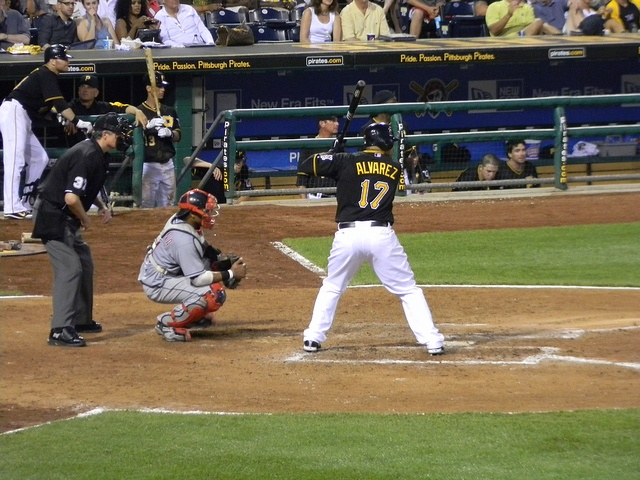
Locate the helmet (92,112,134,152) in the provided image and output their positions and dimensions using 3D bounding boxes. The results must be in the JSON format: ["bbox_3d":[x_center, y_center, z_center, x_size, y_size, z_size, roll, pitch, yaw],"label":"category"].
[{"bbox_3d":[-2.231,-1.147,13.078,0.550,0.407,0.394,-11,21,-11],"label":"helmet"}]

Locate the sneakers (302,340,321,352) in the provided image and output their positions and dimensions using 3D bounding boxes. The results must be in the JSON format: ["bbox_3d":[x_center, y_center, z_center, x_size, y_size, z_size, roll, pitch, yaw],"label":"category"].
[{"bbox_3d":[-0.091,1.099,12.651,0.099,0.079,0.194,2,4,6],"label":"sneakers"}]

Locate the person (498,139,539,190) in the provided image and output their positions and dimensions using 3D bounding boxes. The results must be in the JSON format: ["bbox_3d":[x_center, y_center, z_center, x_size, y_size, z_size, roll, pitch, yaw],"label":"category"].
[{"bbox_3d":[3.254,-1.221,20.250,0.973,0.808,0.456,-4,7,-17],"label":"person"}]

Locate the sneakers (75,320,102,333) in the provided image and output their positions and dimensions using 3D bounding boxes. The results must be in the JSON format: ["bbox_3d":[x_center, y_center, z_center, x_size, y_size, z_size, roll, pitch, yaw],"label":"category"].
[{"bbox_3d":[-2.530,0.936,13.303,0.299,0.122,0.111,-2,11,-10],"label":"sneakers"}]

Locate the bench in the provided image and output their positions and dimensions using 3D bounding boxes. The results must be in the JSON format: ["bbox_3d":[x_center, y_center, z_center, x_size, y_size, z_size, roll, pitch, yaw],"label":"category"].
[{"bbox_3d":[1.120,-1.353,19.722,5.637,0.817,0.951,-2,8,-20],"label":"bench"}]

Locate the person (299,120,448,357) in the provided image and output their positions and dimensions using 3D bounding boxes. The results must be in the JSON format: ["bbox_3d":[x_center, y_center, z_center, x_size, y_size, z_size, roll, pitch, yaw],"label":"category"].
[{"bbox_3d":[0.472,0.141,12.511,1.397,2.013,0.417,1,8,-1],"label":"person"}]

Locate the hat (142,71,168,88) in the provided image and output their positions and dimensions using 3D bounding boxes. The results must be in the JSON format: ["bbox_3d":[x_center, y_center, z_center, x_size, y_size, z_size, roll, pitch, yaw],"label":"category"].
[{"bbox_3d":[-2.430,-2.376,18.245,0.401,0.193,0.260,0,10,3],"label":"hat"}]

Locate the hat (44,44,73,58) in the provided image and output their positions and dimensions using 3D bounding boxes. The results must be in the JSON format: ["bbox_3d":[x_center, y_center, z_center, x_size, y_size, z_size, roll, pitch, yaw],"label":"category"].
[{"bbox_3d":[-3.410,-2.424,15.813,0.291,0.132,0.187,-1,11,0],"label":"hat"}]

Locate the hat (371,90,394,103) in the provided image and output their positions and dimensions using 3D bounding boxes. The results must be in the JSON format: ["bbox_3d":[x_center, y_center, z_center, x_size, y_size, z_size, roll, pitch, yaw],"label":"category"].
[{"bbox_3d":[0.777,-1.779,15.214,0.324,0.135,0.398,-14,9,1],"label":"hat"}]

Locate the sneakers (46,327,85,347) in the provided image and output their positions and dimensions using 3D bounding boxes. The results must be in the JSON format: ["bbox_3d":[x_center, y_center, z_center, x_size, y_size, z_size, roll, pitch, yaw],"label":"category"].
[{"bbox_3d":[-2.659,1.014,12.784,0.387,0.145,0.182,2,3,6],"label":"sneakers"}]

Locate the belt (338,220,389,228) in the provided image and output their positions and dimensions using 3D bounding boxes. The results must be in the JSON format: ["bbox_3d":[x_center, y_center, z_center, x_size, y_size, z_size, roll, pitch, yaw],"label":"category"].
[{"bbox_3d":[0.447,-0.146,12.441,0.531,0.092,0.158,1,7,3],"label":"belt"}]

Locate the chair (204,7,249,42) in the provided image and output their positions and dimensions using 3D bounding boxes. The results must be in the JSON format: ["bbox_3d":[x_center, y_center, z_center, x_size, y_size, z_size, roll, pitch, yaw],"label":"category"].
[{"bbox_3d":[-1.698,-3.921,22.023,0.813,0.786,0.720,-2,3,-14],"label":"chair"}]

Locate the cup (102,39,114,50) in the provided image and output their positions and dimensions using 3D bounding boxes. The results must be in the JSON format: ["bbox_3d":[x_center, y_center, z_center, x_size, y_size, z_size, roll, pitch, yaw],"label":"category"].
[{"bbox_3d":[-3.473,-3.159,19.935,0.199,0.125,0.180,-1,-1,-2],"label":"cup"}]

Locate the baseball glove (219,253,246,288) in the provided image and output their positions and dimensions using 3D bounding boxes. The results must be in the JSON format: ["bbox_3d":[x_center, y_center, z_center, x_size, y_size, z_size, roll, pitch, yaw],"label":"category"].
[{"bbox_3d":[-1.008,0.340,13.250,0.299,0.335,0.334,-2,-11,1],"label":"baseball glove"}]

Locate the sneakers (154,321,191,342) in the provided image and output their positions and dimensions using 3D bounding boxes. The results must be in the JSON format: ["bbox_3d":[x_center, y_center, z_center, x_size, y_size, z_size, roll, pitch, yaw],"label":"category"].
[{"bbox_3d":[-1.571,0.991,13.133,0.422,0.172,0.163,3,10,14],"label":"sneakers"}]

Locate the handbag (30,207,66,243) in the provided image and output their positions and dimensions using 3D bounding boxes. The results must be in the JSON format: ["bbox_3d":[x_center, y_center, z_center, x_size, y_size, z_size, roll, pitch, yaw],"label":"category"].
[{"bbox_3d":[-2.873,-0.163,12.831,0.391,0.392,0.105,3,8,16],"label":"handbag"}]

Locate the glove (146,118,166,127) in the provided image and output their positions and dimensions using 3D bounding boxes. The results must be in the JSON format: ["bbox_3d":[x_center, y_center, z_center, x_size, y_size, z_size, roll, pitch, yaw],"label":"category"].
[{"bbox_3d":[-2.453,-1.718,18.140,0.273,0.169,0.107,0,7,-4],"label":"glove"}]

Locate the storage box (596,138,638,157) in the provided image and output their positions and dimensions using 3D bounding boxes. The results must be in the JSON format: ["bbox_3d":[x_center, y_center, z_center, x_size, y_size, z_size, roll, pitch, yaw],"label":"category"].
[{"bbox_3d":[5.330,-1.608,21.813,0.583,0.312,0.387,-1,7,-1],"label":"storage box"}]

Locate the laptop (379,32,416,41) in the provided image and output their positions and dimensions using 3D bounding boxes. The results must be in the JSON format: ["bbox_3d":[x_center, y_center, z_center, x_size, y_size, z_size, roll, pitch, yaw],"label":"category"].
[{"bbox_3d":[1.314,-3.479,21.109,0.391,0.065,0.359,-1,7,-21],"label":"laptop"}]

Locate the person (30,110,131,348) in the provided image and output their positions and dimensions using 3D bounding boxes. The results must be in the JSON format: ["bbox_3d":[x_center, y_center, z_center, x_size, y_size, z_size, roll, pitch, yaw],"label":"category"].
[{"bbox_3d":[-2.503,-0.114,12.976,0.932,2.421,0.599,-5,10,-36],"label":"person"}]

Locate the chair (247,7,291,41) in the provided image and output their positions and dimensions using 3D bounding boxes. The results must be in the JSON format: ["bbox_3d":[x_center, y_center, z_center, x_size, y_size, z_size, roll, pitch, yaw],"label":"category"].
[{"bbox_3d":[-0.906,-3.883,22.041,0.666,0.355,0.804,-3,33,-8],"label":"chair"}]

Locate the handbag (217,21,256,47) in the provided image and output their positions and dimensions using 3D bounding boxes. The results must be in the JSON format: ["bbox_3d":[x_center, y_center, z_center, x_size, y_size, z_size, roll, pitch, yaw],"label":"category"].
[{"bbox_3d":[-1.433,-3.387,20.336,0.606,0.360,0.417,0,7,-4],"label":"handbag"}]

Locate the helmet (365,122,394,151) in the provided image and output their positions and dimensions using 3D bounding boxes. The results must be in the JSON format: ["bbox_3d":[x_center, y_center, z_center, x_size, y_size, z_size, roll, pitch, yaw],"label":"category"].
[{"bbox_3d":[0.607,-1.067,12.756,0.346,0.267,0.252,-10,17,-37],"label":"helmet"}]

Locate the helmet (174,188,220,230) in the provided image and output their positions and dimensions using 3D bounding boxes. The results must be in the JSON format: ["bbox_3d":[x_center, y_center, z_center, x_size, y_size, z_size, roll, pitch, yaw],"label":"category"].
[{"bbox_3d":[-1.296,-0.348,13.206,0.502,0.358,0.365,-3,11,-13],"label":"helmet"}]

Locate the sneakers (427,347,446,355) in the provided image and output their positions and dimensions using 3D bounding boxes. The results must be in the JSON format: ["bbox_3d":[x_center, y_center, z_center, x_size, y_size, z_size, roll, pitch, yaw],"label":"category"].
[{"bbox_3d":[1.182,1.135,12.501,0.128,0.049,0.085,-2,3,4],"label":"sneakers"}]
